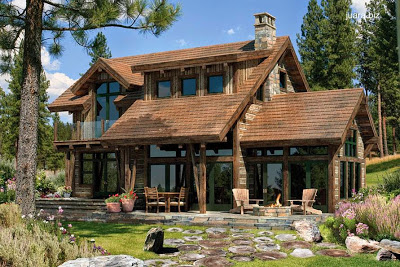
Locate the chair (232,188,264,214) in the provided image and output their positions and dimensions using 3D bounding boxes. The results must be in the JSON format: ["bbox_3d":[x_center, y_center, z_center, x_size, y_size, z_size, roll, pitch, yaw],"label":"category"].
[{"bbox_3d":[2.585,4.192,34.880,1.503,1.236,1.501,3,-1,7],"label":"chair"}]

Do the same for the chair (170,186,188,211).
[{"bbox_3d":[-1.420,4.211,36.150,1.107,1.657,2.153,0,-11,-2],"label":"chair"}]

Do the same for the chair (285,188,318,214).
[{"bbox_3d":[6.171,4.193,34.700,1.771,1.832,1.385,2,-7,-39],"label":"chair"}]

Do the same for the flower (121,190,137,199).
[{"bbox_3d":[-4.694,4.011,36.977,0.604,0.380,0.567,6,-7,-44],"label":"flower"}]

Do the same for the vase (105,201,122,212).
[{"bbox_3d":[-5.666,4.735,36.582,0.636,0.450,0.632,6,-7,-42],"label":"vase"}]

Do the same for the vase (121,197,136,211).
[{"bbox_3d":[-4.675,4.579,36.565,0.715,0.698,0.721,3,-7,-15],"label":"vase"}]
